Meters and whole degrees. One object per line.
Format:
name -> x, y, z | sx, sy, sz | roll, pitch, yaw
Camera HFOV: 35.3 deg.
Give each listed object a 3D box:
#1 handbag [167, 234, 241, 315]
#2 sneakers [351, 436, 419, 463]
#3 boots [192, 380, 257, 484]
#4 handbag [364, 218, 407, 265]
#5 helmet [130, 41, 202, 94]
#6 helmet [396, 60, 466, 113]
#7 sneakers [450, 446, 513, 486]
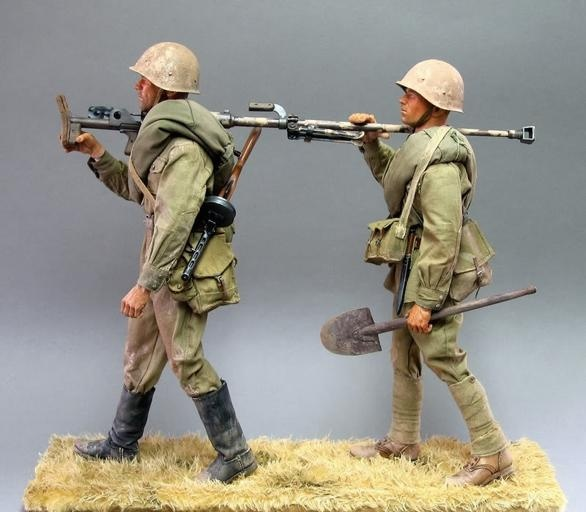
handbag -> -0.476, 0.083, 4.559 | 0.211, 0.499, 0.321 | -2, 1, 41
sneakers -> 0.527, 1.103, 5.231 | 0.395, 0.188, 0.163 | 4, -6, 8
boots -> -0.403, 0.943, 4.841 | 0.333, 0.563, 0.202 | -15, 13, -13
handbag -> 0.481, -0.078, 4.672 | 0.117, 0.204, 0.188 | 7, -7, -17
helmet -> -0.655, -0.988, 4.775 | 0.398, 0.266, 0.356 | 10, 4, -1
helmet -> 0.741, -0.913, 4.865 | 0.381, 0.298, 0.369 | 6, 10, -1
sneakers -> 1.006, 1.121, 4.867 | 0.215, 0.117, 0.080 | -25, 15, 0
